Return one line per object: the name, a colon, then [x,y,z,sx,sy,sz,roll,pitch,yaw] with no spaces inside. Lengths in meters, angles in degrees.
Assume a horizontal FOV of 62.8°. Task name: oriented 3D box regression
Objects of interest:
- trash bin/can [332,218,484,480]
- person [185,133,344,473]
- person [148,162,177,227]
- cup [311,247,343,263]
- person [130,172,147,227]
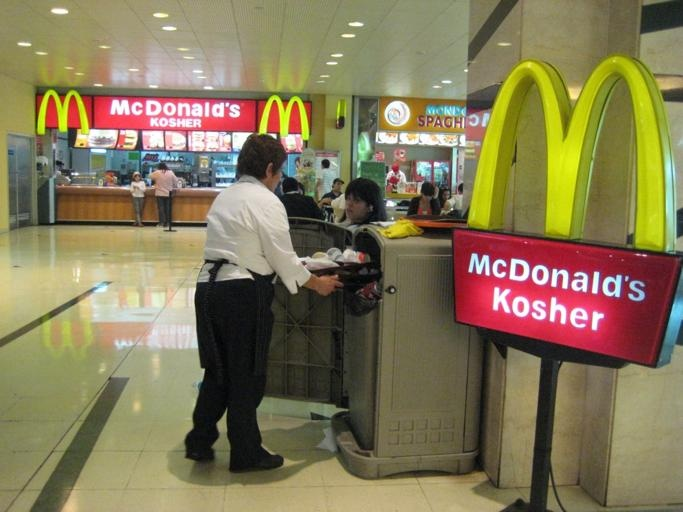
trash bin/can: [0.529,0.498,3.998,1.110,2.022,1.258,1,3,-8]
person: [-0.480,0.251,3.027,0.693,1.813,0.399,0,10,-12]
person: [-4.262,-1.504,13.697,0.614,1.602,1.713,0,10,-16]
cup: [-0.071,-0.010,3.224,0.134,0.088,0.138,0,-4,0]
person: [-4.986,-1.445,13.987,0.359,1.341,0.656,-1,10,-20]
